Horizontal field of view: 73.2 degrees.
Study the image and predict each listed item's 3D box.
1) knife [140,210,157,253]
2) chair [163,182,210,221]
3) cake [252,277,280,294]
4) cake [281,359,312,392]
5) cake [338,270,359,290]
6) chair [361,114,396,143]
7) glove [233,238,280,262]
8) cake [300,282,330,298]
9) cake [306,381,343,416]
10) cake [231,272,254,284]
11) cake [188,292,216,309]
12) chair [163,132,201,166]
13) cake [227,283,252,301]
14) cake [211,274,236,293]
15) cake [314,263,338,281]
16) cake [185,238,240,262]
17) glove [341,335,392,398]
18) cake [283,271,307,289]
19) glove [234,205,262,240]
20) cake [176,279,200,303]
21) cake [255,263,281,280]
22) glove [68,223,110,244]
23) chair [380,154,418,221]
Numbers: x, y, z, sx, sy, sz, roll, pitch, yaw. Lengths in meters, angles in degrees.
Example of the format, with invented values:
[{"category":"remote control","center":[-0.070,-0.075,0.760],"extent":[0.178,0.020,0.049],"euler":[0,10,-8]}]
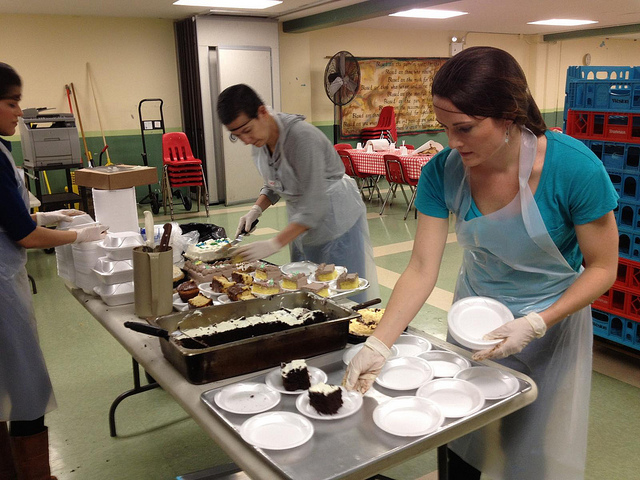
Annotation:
[{"category":"knife","center":[-0.758,-0.030,1.925],"extent":[0.024,0.204,0.089],"euler":[-12,-16,10]},{"category":"chair","center":[-2.424,-0.820,8.142],"extent":[0.920,0.845,0.698],"euler":[-4,11,-15]},{"category":"cake","center":[-0.265,0.221,2.236],"extent":[0.088,0.054,0.088],"euler":[12,13,43]},{"category":"cake","center":[-0.070,0.462,1.474],"extent":[0.090,0.061,0.094],"euler":[-11,-15,22]},{"category":"cake","center":[0.145,0.205,2.286],"extent":[0.075,0.064,0.105],"euler":[-5,10,10]},{"category":"chair","center":[1.489,-2.595,10.391],"extent":[0.609,1.010,0.548],"euler":[4,12,-3]},{"category":"glove","center":[-0.398,0.072,2.779],"extent":[0.265,0.131,0.137],"euler":[-9,-20,-10]},{"category":"cake","center":[-0.015,0.230,2.086],"extent":[0.080,0.034,0.079],"euler":[8,15,44]},{"category":"cake","center":[0.021,0.479,1.374],"extent":[0.076,0.096,0.129],"euler":[-12,13,-34]},{"category":"cake","center":[-0.405,0.195,2.259],"extent":[0.084,0.028,0.061],"euler":[-1,4,-45]},{"category":"cake","center":[-0.557,0.272,2.000],"extent":[0.080,0.026,0.080],"euler":[-7,13,-28]},{"category":"chair","center":[-2.580,-1.610,7.897],"extent":[0.582,0.559,0.684],"euler":[-10,13,-32]},{"category":"cake","center":[-0.391,0.248,2.093],"extent":[0.080,0.028,0.081],"euler":[19,35,35]},{"category":"cake","center":[-0.499,0.216,2.219],"extent":[0.077,0.033,0.099],"euler":[-16,25,-27]},{"category":"cake","center":[0.025,0.177,2.376],"extent":[0.091,0.056,0.092],"euler":[-8,16,29]},{"category":"cake","center":[-0.693,0.057,2.732],"extent":[0.308,0.100,0.469],"euler":[-9,17,-18]},{"category":"glove","center":[0.153,0.409,1.425],"extent":[0.196,0.107,0.054],"euler":[-51,2,-25]},{"category":"cake","center":[-0.140,0.203,2.297],"extent":[0.084,0.052,0.085],"euler":[13,20,40]},{"category":"glove","center":[-0.454,-0.128,2.771],"extent":[0.087,0.098,0.365],"euler":[3,32,13]},{"category":"cake","center":[-0.647,0.247,2.131],"extent":[0.098,0.092,0.095],"euler":[-16,12,-34]},{"category":"cake","center":[-0.288,0.171,2.333],"extent":[0.088,0.053,0.084],"euler":[9,14,34]},{"category":"glove","center":[-1.226,-0.038,2.313],"extent":[0.182,0.063,0.104],"euler":[-15,21,-39]},{"category":"chair","center":[1.517,-0.961,7.533],"extent":[0.689,1.030,0.848],"euler":[10,22,39]}]
